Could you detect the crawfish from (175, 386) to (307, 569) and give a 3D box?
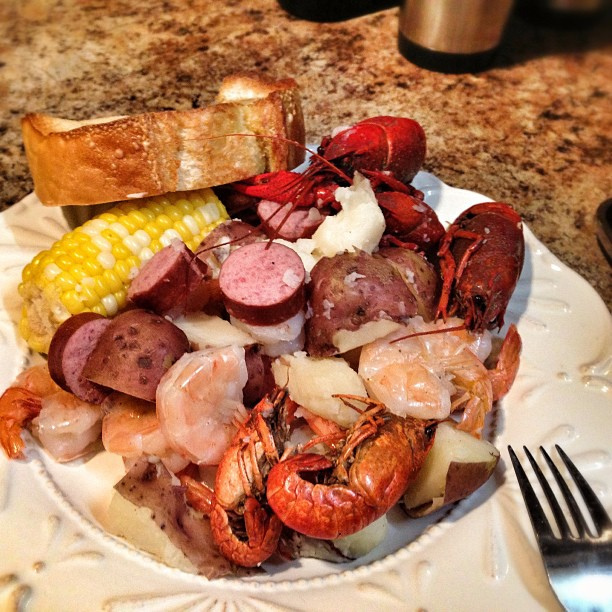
[{"bbox_3d":[-0.133,0.420,1.653,0.377,0.128,0.374,-9,50,24],"label":"crawfish"}]

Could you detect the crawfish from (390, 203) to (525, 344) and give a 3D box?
[{"bbox_3d":[0.441,-0.129,2.000,0.425,0.161,0.489,7,65,9],"label":"crawfish"}]

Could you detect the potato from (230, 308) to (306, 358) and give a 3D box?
[{"bbox_3d":[-0.099,0.059,1.799,0.189,0.060,0.205,-11,15,1],"label":"potato"}]

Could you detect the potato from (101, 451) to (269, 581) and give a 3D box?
[{"bbox_3d":[-0.327,0.495,1.586,0.405,0.097,0.226,24,36,4],"label":"potato"}]

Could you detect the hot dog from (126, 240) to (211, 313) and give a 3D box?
[{"bbox_3d":[-0.337,-0.063,1.752,0.208,0.078,0.204,-32,32,11],"label":"hot dog"}]

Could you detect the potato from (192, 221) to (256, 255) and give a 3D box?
[{"bbox_3d":[-0.222,-0.186,2.010,0.154,0.037,0.120,-24,19,-21],"label":"potato"}]

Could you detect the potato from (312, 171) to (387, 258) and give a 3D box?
[{"bbox_3d":[0.120,-0.245,1.894,0.225,0.080,0.202,-1,69,1],"label":"potato"}]

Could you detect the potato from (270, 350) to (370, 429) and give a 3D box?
[{"bbox_3d":[0.031,0.206,1.745,0.175,0.068,0.229,-37,63,-23],"label":"potato"}]

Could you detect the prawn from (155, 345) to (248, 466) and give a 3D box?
[{"bbox_3d":[-0.251,0.288,1.728,0.148,0.256,0.320,21,23,17],"label":"prawn"}]

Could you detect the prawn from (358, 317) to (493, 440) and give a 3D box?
[{"bbox_3d":[0.319,0.174,1.802,0.439,0.125,0.318,2,64,-29],"label":"prawn"}]

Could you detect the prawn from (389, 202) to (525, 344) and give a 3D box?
[{"bbox_3d":[0.462,-0.133,1.934,0.332,0.155,0.443,9,59,30],"label":"prawn"}]
